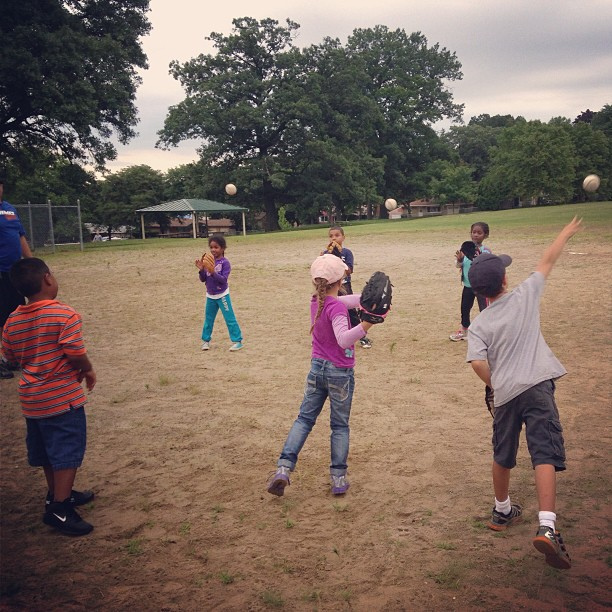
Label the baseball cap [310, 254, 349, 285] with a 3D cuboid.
[{"bbox_3d":[0.170,-0.267,5.334,0.257,0.200,0.252,-2,11,1],"label":"baseball cap"}]

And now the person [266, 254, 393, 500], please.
[{"bbox_3d":[0.199,0.550,5.294,0.862,1.799,0.601,-2,12,5],"label":"person"}]

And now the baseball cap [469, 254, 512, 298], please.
[{"bbox_3d":[1.215,-0.199,4.910,0.230,0.286,0.192,0,12,11],"label":"baseball cap"}]

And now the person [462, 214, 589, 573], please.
[{"bbox_3d":[1.367,0.619,4.768,0.609,1.865,1.237,0,12,14],"label":"person"}]

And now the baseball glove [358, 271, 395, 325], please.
[{"bbox_3d":[0.474,-0.050,5.004,0.224,0.358,0.249,-2,12,3],"label":"baseball glove"}]

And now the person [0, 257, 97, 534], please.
[{"bbox_3d":[-1.769,0.635,5.206,0.565,1.924,0.694,-10,14,-30],"label":"person"}]

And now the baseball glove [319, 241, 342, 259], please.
[{"bbox_3d":[0.327,-0.641,8.631,0.278,0.156,0.399,2,2,1],"label":"baseball glove"}]
